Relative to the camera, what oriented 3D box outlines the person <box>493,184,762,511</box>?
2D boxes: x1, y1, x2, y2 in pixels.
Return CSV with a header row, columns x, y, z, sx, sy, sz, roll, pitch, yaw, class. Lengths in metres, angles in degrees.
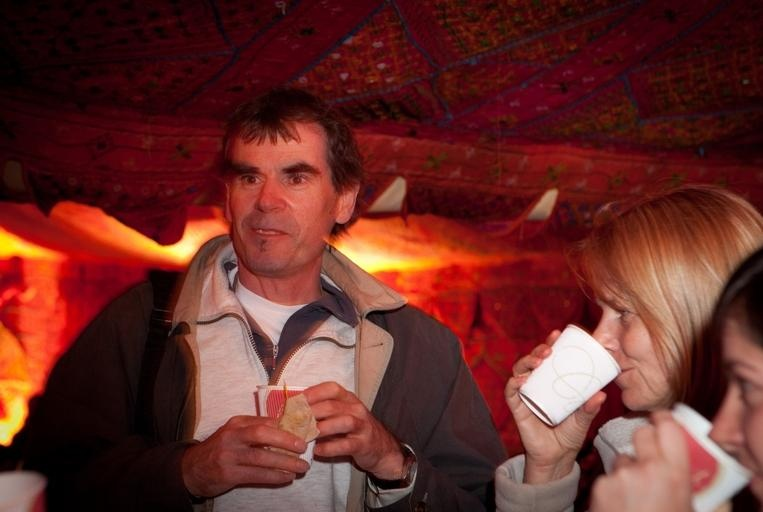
x,y,z,sx,sy,sz,roll,pitch,yaw,class
0.891,0.461,2.729,1.251,1.447,1.356,4,-4,17,person
